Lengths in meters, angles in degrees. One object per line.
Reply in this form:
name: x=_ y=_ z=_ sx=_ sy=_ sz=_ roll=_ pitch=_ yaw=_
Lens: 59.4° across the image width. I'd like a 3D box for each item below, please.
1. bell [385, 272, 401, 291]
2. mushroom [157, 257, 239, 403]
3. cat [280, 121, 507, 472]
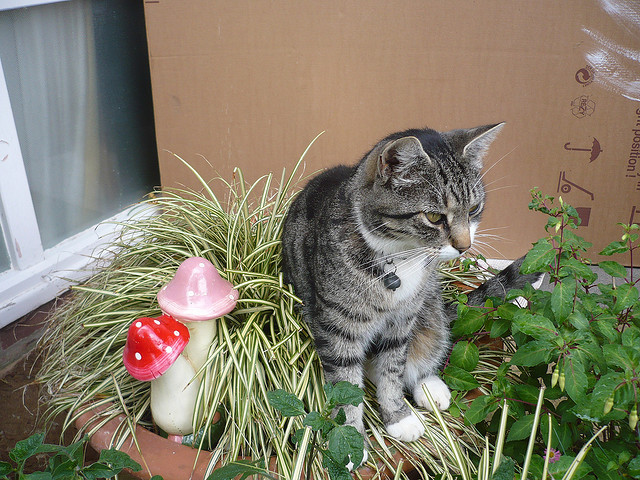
bell: x=0.212 y=0.125 z=1.594 sx=0.042 sy=0.035 sz=0.058 roll=-25 pitch=-66 yaw=22
mushroom: x=-0.376 y=0.273 z=1.687 sx=0.224 sy=0.275 sz=0.480 roll=-3 pitch=-67 yaw=-22
cat: x=0.214 y=0.087 z=2.017 sx=0.830 sy=0.695 sz=1.059 roll=-5 pitch=-64 yaw=-14
